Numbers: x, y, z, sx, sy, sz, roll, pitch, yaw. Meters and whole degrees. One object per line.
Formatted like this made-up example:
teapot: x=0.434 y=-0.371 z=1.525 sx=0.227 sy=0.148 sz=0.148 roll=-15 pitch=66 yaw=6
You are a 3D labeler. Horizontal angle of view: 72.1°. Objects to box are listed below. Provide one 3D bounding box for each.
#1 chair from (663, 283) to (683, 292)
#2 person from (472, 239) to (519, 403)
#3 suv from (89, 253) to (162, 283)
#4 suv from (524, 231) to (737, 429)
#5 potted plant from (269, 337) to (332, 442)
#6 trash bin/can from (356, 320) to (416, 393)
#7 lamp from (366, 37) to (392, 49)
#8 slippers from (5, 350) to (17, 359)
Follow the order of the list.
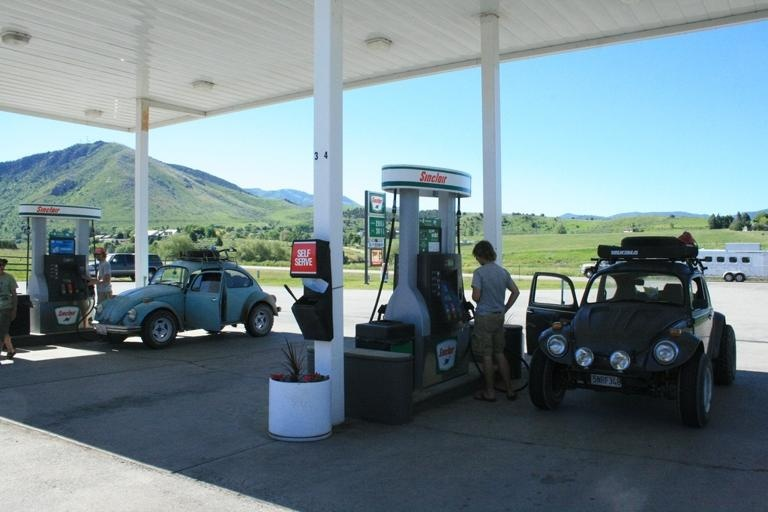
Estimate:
chair: x=4.399 y=0.466 z=8.074 sx=0.213 sy=0.140 sz=0.108 roll=5 pitch=26 yaw=18
person: x=1.758 y=1.034 z=8.486 sx=0.747 sy=2.558 sz=0.525 roll=-2 pitch=2 yaw=-1
suv: x=-10.939 y=0.451 z=22.594 sx=3.810 sy=1.549 sz=1.798 roll=1 pitch=-2 yaw=-22
suv: x=4.326 y=0.988 z=8.802 sx=2.562 sy=2.431 sz=4.058 roll=0 pitch=3 yaw=35
potted plant: x=-1.122 y=1.853 z=6.996 sx=0.840 sy=1.080 sz=0.443 roll=-2 pitch=2 yaw=-8
trash bin/can: x=0.020 y=1.549 z=8.384 sx=0.943 sy=0.924 sz=0.907 roll=1 pitch=-2 yaw=-10
lamp: x=-0.121 y=-5.255 z=12.899 sx=0.663 sy=0.136 sz=0.470 roll=-2 pitch=2 yaw=-2
slippers: x=-8.089 y=2.145 z=11.507 sx=0.146 sy=0.155 sz=0.420 roll=-3 pitch=-3 yaw=-40
